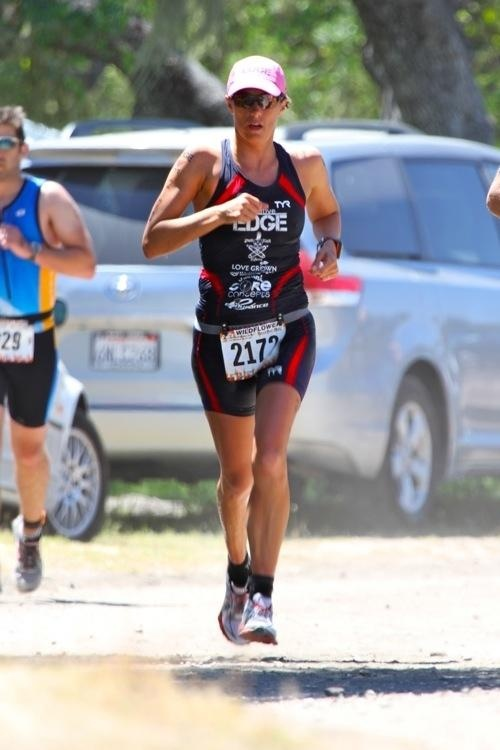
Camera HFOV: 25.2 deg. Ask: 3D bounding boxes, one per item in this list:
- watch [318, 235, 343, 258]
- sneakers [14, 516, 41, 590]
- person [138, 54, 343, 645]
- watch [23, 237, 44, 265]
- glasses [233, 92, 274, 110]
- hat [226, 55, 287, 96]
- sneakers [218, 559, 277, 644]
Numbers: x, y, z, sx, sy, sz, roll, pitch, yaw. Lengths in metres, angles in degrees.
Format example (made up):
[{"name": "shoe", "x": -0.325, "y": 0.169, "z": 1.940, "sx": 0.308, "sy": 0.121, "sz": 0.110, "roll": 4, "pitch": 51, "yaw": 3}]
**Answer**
[{"name": "watch", "x": 0.272, "y": -0.429, "z": 3.819, "sx": 0.099, "sy": 0.093, "sz": 0.064, "roll": 2, "pitch": 27, "yaw": 2}, {"name": "sneakers", "x": -0.844, "y": 0.673, "z": 4.257, "sx": 0.106, "sy": 0.268, "sz": 0.123, "roll": -2, "pitch": -2, "yaw": -17}, {"name": "person", "x": -0.038, "y": -0.084, "z": 3.554, "sx": 0.509, "sy": 1.884, "sz": 0.710, "roll": 1, "pitch": -2, "yaw": 17}, {"name": "watch", "x": -0.722, "y": -0.410, "z": 3.744, "sx": 0.057, "sy": 0.077, "sz": 0.091, "roll": 31, "pitch": 15, "yaw": 17}, {"name": "glasses", "x": 0.006, "y": -0.823, "z": 3.398, "sx": 0.122, "sy": 0.056, "sz": 0.036, "roll": 1, "pitch": -1, "yaw": 5}, {"name": "hat", "x": 0.021, "y": -0.901, "z": 3.500, "sx": 0.135, "sy": 0.092, "sz": 0.188, "roll": 2, "pitch": -14, "yaw": 7}, {"name": "sneakers", "x": -0.026, "y": 0.720, "z": 3.395, "sx": 0.126, "sy": 0.150, "sz": 0.354, "roll": 6, "pitch": 17, "yaw": -5}]
